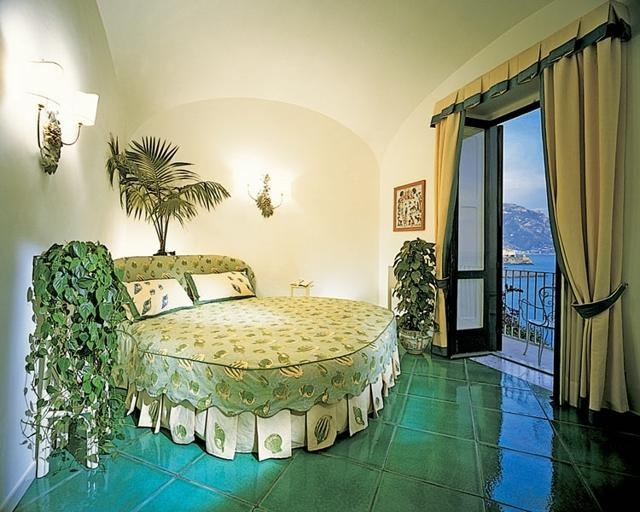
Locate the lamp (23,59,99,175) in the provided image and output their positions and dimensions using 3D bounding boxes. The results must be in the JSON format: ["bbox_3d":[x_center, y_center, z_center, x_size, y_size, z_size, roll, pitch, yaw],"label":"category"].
[{"bbox_3d":[-1.731,-0.951,2.741,0.299,0.737,0.786,-4,13,-18],"label":"lamp"}]

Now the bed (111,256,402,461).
[{"bbox_3d":[-0.601,0.788,2.995,1.648,0.903,1.755,2,5,30],"label":"bed"}]

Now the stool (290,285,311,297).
[{"bbox_3d":[-0.249,0.428,5.201,0.167,0.185,0.178,-2,-3,32],"label":"stool"}]

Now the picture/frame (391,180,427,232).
[{"bbox_3d":[1.112,-0.630,4.904,0.043,0.710,0.643,-1,1,-27],"label":"picture/frame"}]

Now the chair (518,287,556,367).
[{"bbox_3d":[2.403,0.717,4.435,0.339,0.673,0.809,6,14,27],"label":"chair"}]

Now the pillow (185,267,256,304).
[{"bbox_3d":[-1.080,0.324,4.401,0.718,0.198,0.495,-8,40,-34],"label":"pillow"}]
